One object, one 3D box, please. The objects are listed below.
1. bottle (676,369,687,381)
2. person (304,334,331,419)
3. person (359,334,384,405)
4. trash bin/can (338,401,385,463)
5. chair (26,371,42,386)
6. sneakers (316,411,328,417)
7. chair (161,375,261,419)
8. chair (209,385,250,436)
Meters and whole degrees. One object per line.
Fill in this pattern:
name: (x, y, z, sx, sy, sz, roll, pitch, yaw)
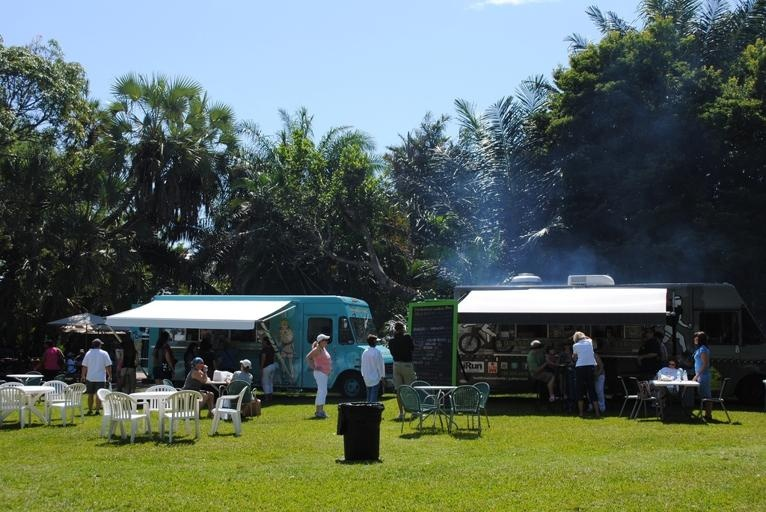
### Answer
bottle: (7.578, 3.014, 21.018, 0.221, 0.370, 0.182, -1, -10, 0)
person: (-1.633, 3.046, 21.003, 0.553, 2.147, 1.135, -1, 11, -5)
person: (-0.258, 2.834, 20.776, 0.515, 1.821, 0.610, 0, 11, 1)
trash bin/can: (-0.441, 3.547, 16.671, 0.946, 1.169, 1.097, 1, -13, -4)
chair: (-9.511, 3.307, 22.416, 0.379, 0.427, 0.400, 2, -6, -9)
sneakers: (-1.544, 3.960, 20.784, 0.321, 0.157, 0.116, 1, 4, 2)
chair: (-3.664, 3.400, 20.343, 1.670, 0.632, 1.196, 2, 2, 21)
chair: (-3.614, 3.620, 19.410, 0.909, 1.334, 0.915, 2, -6, -1)
